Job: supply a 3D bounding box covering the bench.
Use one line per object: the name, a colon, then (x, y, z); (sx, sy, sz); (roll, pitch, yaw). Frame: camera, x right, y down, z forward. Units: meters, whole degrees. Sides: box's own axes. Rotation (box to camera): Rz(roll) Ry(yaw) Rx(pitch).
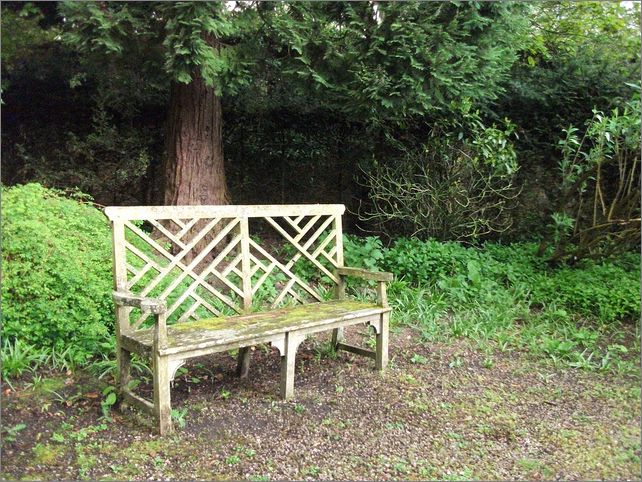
bench: (-0.724, 0.801, 5.458); (2.043, 1.250, 0.731); (-4, 6, -39)
